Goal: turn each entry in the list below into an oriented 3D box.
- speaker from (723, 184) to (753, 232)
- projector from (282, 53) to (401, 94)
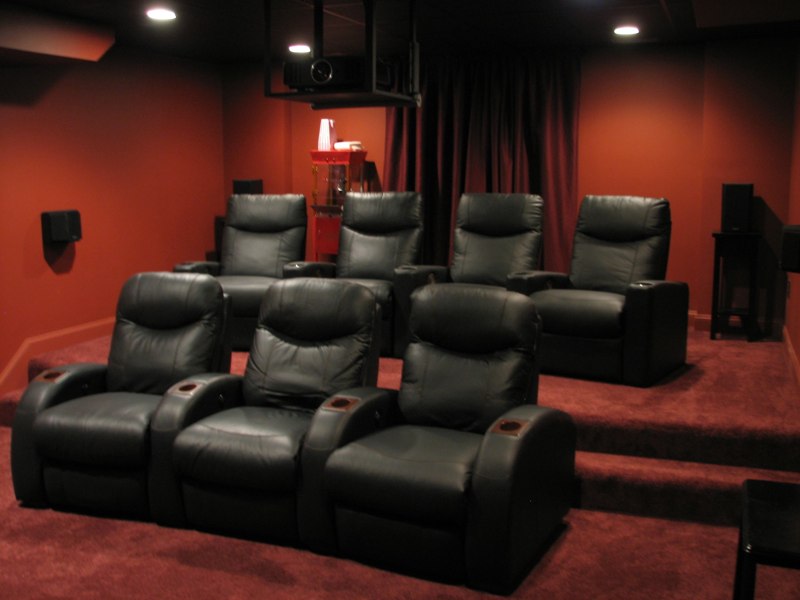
[{"bbox_3d":[2.676,-0.739,5.114,0.205,0.373,0.144,7,11,28],"label":"speaker"},{"bbox_3d":[-0.361,-1.449,4.203,0.414,0.143,0.426,4,9,18],"label":"projector"}]
